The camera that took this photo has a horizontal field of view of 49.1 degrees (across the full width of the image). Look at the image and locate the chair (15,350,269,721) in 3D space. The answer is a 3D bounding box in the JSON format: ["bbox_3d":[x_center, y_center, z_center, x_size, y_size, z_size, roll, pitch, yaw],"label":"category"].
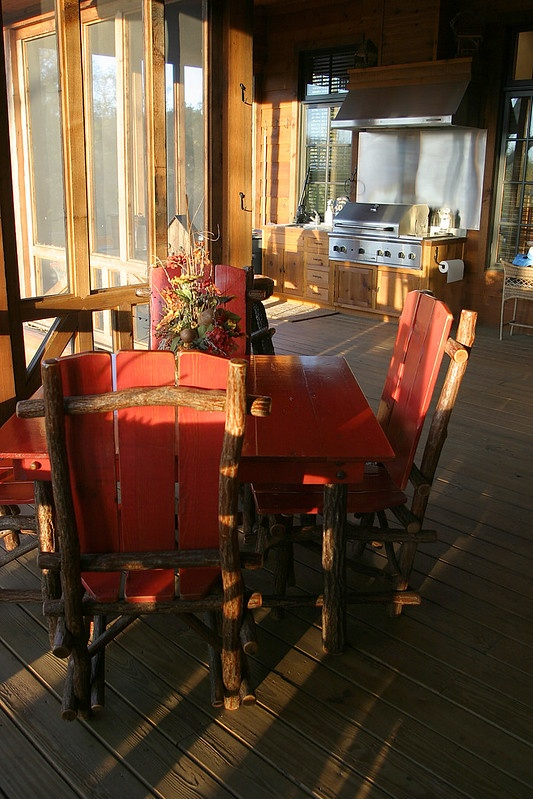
[{"bbox_3d":[-0.268,0.258,1.482,0.505,0.822,0.593,1,15,-4],"label":"chair"}]

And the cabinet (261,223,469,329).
[{"bbox_3d":[1.106,-1.718,7.505,2.541,0.987,0.841,21,34,41],"label":"cabinet"}]

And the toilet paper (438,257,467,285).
[{"bbox_3d":[2.070,-1.452,6.533,0.131,0.273,0.527,9,13,35],"label":"toilet paper"}]

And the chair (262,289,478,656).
[{"bbox_3d":[0.279,0.154,2.018,0.715,1.044,0.787,-6,25,7],"label":"chair"}]

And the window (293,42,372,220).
[{"bbox_3d":[0.858,-3.488,7.885,0.924,2.160,0.094,19,34,37],"label":"window"}]

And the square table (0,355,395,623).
[{"bbox_3d":[0.025,0.285,1.925,0.943,0.465,0.762,0,24,0],"label":"square table"}]
